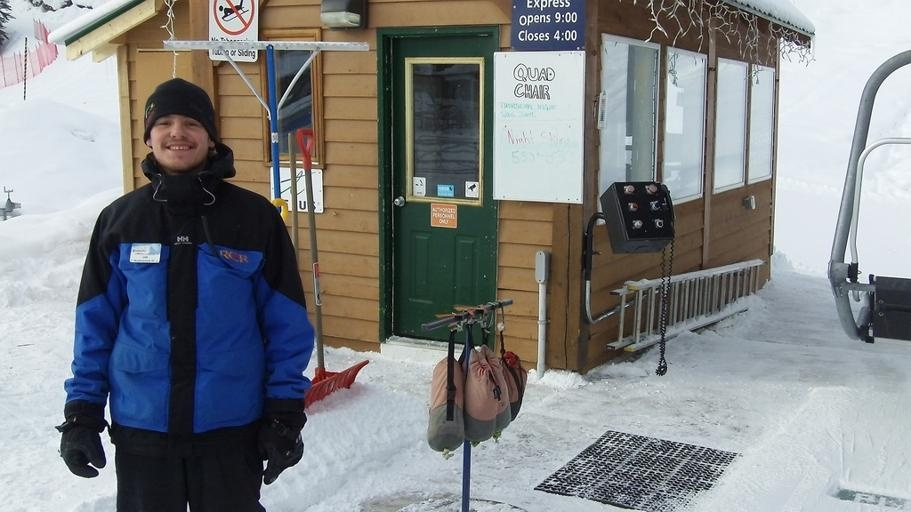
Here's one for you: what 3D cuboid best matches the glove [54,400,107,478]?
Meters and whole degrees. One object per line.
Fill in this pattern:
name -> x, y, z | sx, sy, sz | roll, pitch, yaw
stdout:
glove -> -2.340, 1.132, 4.569 | 0.285, 0.584, 0.224 | 0, -1, 19

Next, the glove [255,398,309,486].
glove -> -1.130, 1.160, 4.624 | 0.314, 0.528, 0.222 | 1, 0, 1

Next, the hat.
hat -> -1.819, -1.008, 4.807 | 0.401, 0.384, 0.449 | 2, -20, -11

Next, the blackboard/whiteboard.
blackboard/whiteboard -> 0.872, -1.389, 7.709 | 0.851, 1.716, 0.535 | 2, 1, 21
